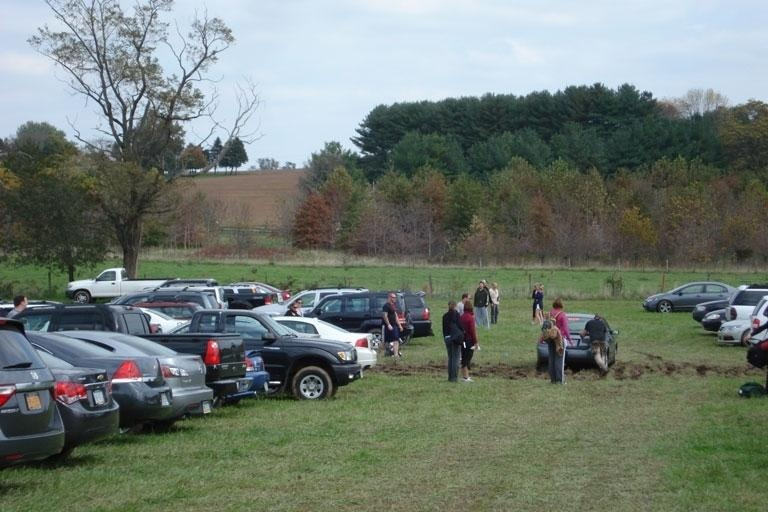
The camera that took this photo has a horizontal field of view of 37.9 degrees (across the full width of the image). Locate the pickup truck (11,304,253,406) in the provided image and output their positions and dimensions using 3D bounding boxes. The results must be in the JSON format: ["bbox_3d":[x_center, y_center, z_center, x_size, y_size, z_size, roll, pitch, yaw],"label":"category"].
[{"bbox_3d":[-8.542,3.373,40.909,7.965,2.670,3.688,2,-2,12],"label":"pickup truck"}]

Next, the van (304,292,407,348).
[{"bbox_3d":[-1.140,2.785,50.886,4.362,1.891,2.098,3,-1,4],"label":"van"}]

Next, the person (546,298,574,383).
[{"bbox_3d":[6.859,3.302,44.258,0.782,3.269,1.565,-2,1,11],"label":"person"}]

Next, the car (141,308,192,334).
[{"bbox_3d":[-9.764,2.897,49.127,2.728,0.934,1.266,3,1,6],"label":"car"}]

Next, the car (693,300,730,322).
[{"bbox_3d":[16.382,2.760,56.577,1.886,0.649,0.854,-6,4,1],"label":"car"}]

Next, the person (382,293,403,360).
[{"bbox_3d":[0.323,3.046,49.056,0.801,2.743,1.529,-2,1,0],"label":"person"}]

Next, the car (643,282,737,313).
[{"bbox_3d":[16.638,2.242,61.600,4.270,1.459,1.965,0,-1,11],"label":"car"}]

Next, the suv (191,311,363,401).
[{"bbox_3d":[-3.927,3.694,42.819,6.388,2.477,2.972,0,1,5],"label":"suv"}]

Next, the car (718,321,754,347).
[{"bbox_3d":[15.664,3.452,50.340,1.790,0.839,0.907,4,-4,-1],"label":"car"}]

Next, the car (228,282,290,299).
[{"bbox_3d":[-6.382,1.841,61.195,2.490,0.989,1.398,2,2,7],"label":"car"}]

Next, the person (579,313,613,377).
[{"bbox_3d":[8.669,3.151,46.027,1.195,1.178,2.822,2,15,14],"label":"person"}]

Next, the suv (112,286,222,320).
[{"bbox_3d":[-10.099,2.565,52.091,4.208,1.672,2.008,4,1,10],"label":"suv"}]
